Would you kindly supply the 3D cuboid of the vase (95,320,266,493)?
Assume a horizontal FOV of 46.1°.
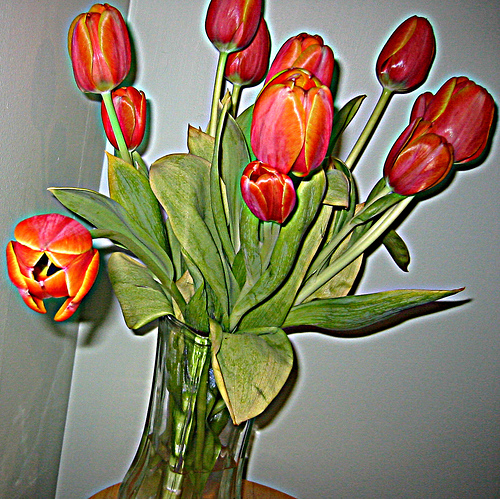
[{"bbox_3d":[-0.066,0.138,0.596,0.132,0.216,0.148,11,12,-26],"label":"vase"}]
